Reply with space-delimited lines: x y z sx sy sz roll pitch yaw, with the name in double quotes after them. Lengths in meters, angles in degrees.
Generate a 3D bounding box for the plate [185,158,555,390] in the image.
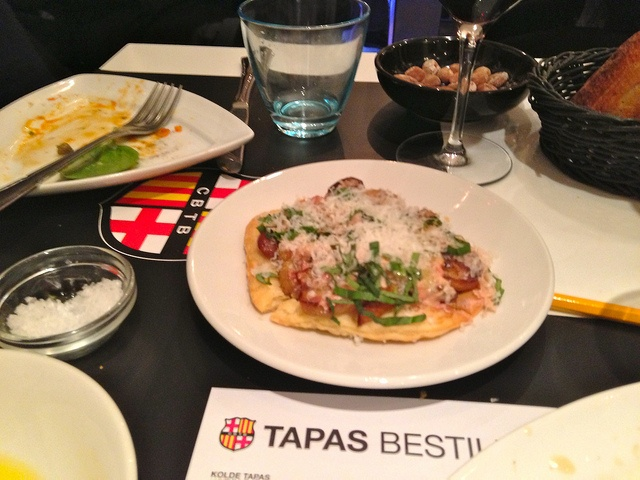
0.113 0.040 1.213 0.871 0.088 0.700 -2 52 0 "plate"

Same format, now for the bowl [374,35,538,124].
0.472 -0.602 1.773 0.441 0.154 0.456 0 36 0 "bowl"
